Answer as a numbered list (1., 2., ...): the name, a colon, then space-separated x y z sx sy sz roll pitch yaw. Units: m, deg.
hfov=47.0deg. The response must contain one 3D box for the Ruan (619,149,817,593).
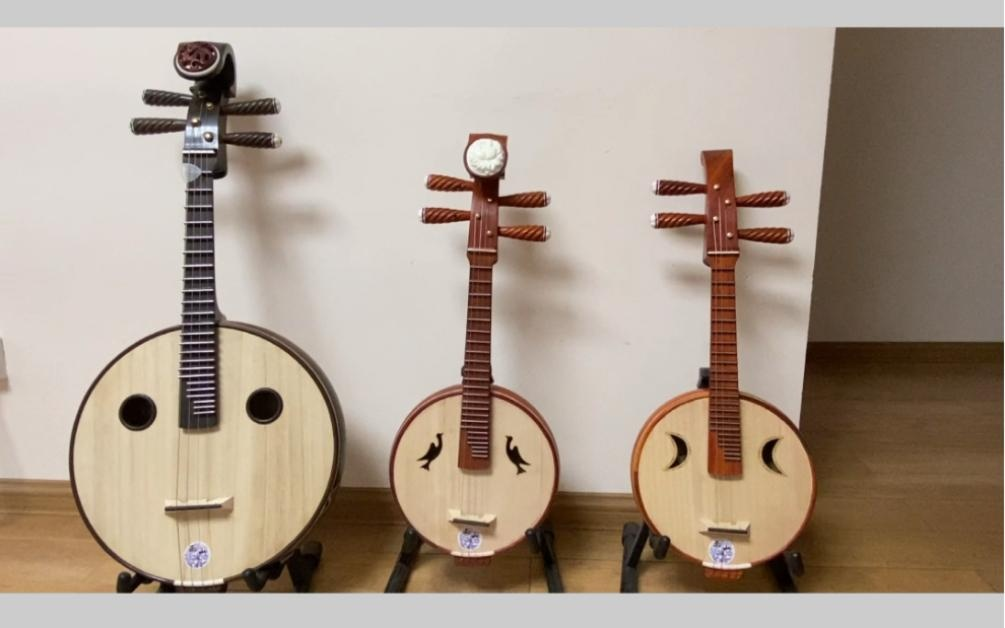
1. Ruan: 0.770 0.214 4.217 0.702 1.609 0.298 -1 7 5

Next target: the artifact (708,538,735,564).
1. artifact: 0.791 0.860 4.177 0.091 0.085 0.019 0 7 11

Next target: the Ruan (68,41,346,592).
1. Ruan: -1.074 0.018 4.176 0.945 1.980 0.346 -1 7 3

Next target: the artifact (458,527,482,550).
1. artifact: -0.119 0.819 4.204 0.076 0.078 0.018 5 4 0
